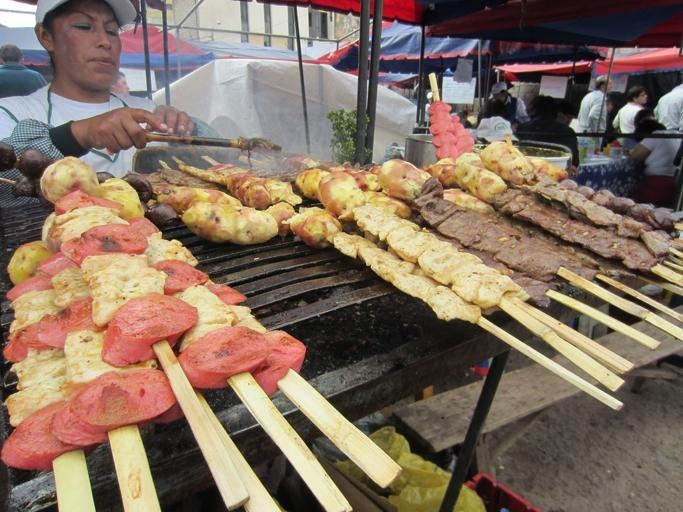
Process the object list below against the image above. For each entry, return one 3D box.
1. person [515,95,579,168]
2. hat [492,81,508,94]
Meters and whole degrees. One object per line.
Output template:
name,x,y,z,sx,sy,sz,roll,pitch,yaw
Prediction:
person,3.365,-2.111,7.175,0.675,0.877,1.509,-7,26,-14
hat,3.817,-4.070,10.787,0.313,0.269,0.526,9,25,16
